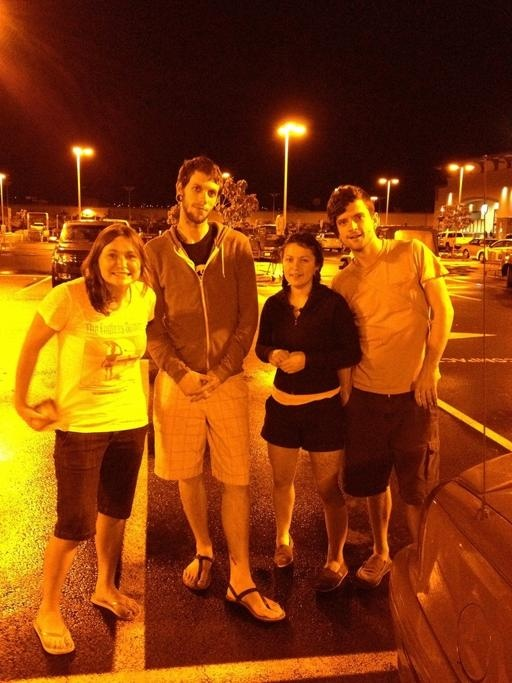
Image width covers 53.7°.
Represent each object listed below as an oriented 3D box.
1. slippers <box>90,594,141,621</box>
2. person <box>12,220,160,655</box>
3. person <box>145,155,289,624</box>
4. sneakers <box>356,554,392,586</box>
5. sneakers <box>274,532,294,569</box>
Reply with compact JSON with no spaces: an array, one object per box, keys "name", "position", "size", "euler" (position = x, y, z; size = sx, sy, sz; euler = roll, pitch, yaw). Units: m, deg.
[{"name":"slippers","position":[-0.665,1.267,2.460],"size":[0.164,0.077,0.098],"euler":[15,-4,15]},{"name":"person","position":[-0.725,0.386,2.279],"size":[0.636,1.848,0.303],"euler":[-1,5,-30]},{"name":"person","position":[-0.248,0.180,2.570],"size":[0.627,2.242,0.545],"euler":[1,4,-7]},{"name":"sneakers","position":[0.672,1.214,2.835],"size":[0.151,0.158,0.396],"euler":[-4,-9,27]},{"name":"sneakers","position":[0.168,1.234,2.985],"size":[0.111,0.114,0.340],"euler":[-5,-7,5]}]
